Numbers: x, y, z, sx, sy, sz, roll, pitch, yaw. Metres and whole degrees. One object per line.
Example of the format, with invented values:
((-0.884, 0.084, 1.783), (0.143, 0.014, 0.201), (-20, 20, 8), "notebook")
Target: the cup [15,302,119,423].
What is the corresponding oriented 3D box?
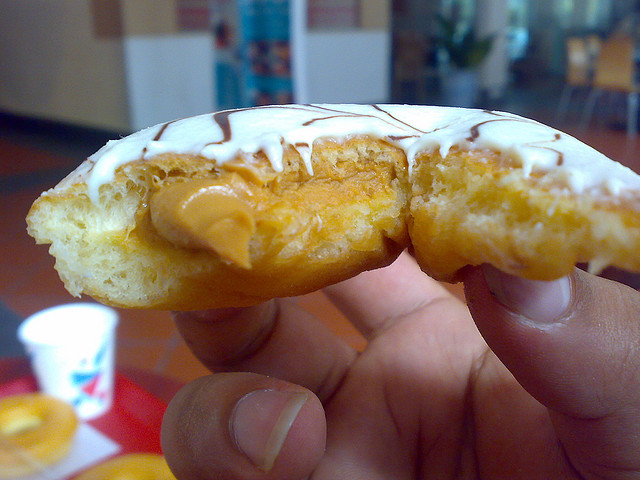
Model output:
((-0.284, 0.134, 0.936), (0.142, 0.113, 0.135), (-3, 20, 1), "cup")
